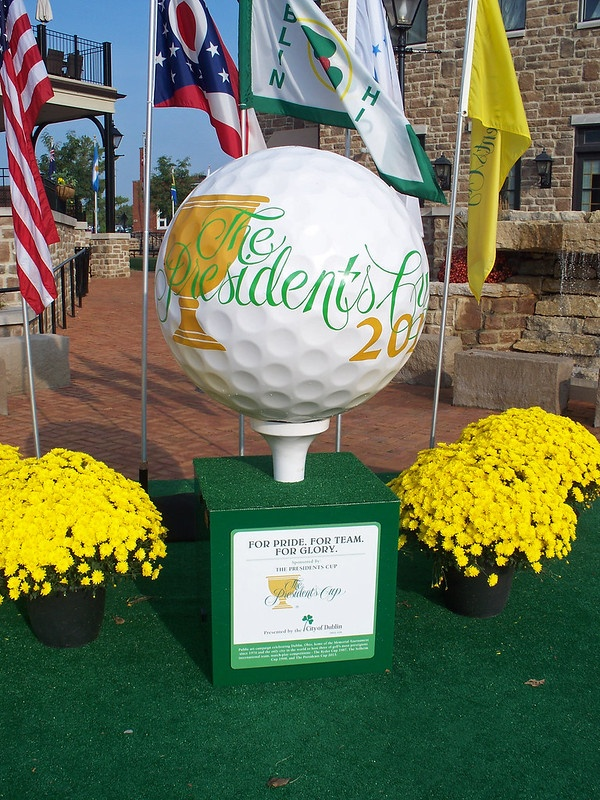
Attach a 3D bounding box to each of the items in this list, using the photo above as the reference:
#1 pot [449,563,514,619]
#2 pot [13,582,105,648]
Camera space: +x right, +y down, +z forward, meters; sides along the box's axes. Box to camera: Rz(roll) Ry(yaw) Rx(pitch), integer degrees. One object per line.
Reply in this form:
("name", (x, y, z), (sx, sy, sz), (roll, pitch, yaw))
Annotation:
("pot", (0.768, 0.849, 3.009), (0.247, 0.193, 0.251), (-1, 12, 0))
("pot", (-0.947, 0.910, 2.828), (0.323, 0.256, 0.301), (-6, -9, -1))
